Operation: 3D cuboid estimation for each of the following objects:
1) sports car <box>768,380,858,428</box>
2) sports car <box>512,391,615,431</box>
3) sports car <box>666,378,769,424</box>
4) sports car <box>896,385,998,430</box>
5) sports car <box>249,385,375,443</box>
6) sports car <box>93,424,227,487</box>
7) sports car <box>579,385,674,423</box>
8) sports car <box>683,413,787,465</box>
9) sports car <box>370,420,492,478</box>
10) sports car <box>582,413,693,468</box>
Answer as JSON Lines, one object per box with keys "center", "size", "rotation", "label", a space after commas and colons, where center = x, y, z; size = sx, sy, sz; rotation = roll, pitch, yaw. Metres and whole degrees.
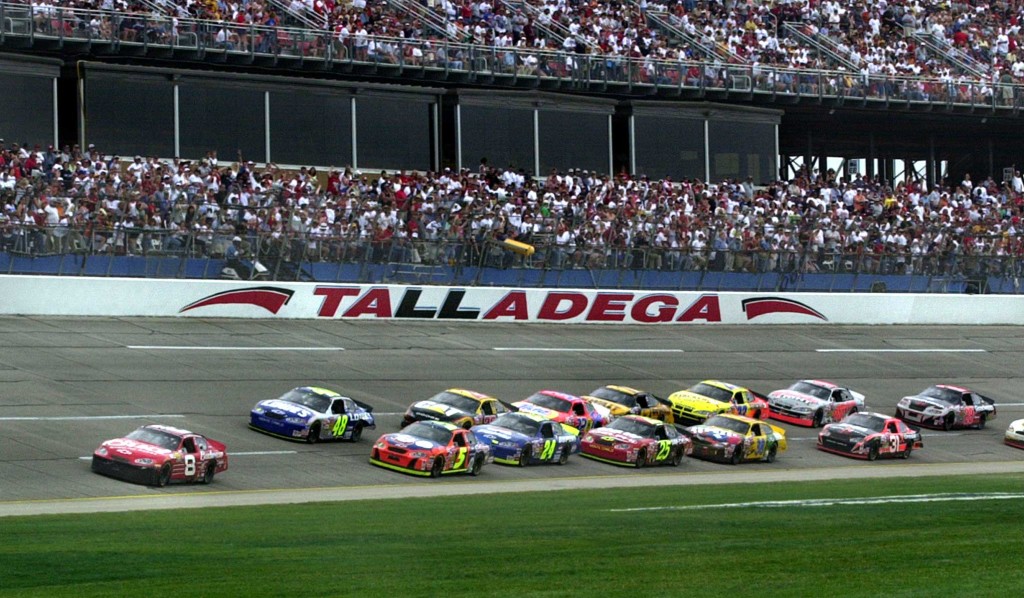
{"center": [11.462, 3.784, 70.371], "size": [3.923, 0.977, 2.257], "rotation": [-3, 19, -46], "label": "sports car"}
{"center": [1.552, 3.918, 65.834], "size": [2.384, 0.918, 3.690], "rotation": [18, 11, 32], "label": "sports car"}
{"center": [7.495, 3.723, 68.550], "size": [2.307, 0.867, 3.979], "rotation": [20, 15, 41], "label": "sports car"}
{"center": [16.424, 4.129, 70.567], "size": [3.749, 1.639, 0.963], "rotation": [-4, 16, -18], "label": "sports car"}
{"center": [-6.587, 3.931, 63.789], "size": [3.022, 1.571, 4.988], "rotation": [1, 1, 22], "label": "sports car"}
{"center": [-13.130, 5.078, 60.068], "size": [3.578, 1.890, 6.488], "rotation": [0, -1, 4], "label": "sports car"}
{"center": [2.980, 3.862, 67.479], "size": [2.538, 1.334, 4.611], "rotation": [1, -1, 18], "label": "sports car"}
{"center": [7.807, 4.755, 66.092], "size": [2.469, 1.002, 4.117], "rotation": [22, 13, 34], "label": "sports car"}
{"center": [-2.642, 4.836, 62.413], "size": [2.516, 1.087, 4.097], "rotation": [20, 13, 32], "label": "sports car"}
{"center": [4.306, 4.820, 64.812], "size": [2.440, 1.088, 3.996], "rotation": [18, 10, 33], "label": "sports car"}
